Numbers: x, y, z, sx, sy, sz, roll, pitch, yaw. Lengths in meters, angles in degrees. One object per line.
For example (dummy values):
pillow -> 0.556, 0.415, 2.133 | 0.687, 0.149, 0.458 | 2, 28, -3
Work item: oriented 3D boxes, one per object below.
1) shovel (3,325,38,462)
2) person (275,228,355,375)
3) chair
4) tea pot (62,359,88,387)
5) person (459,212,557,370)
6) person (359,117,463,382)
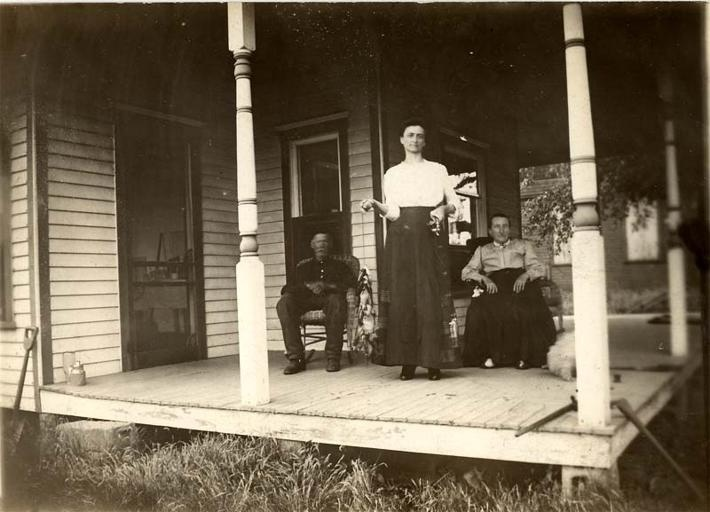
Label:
shovel -> -3.444, 1.383, 6.830 | 0.327, 1.261, 0.275 | 4, 3, 43
person -> -0.424, 0.459, 7.241 | 0.746, 1.579, 0.693 | 3, 4, 7
chair -> -0.152, 0.586, 7.417 | 0.999, 1.464, 1.160 | -2, -7, 15
tea pot -> -2.881, 1.197, 6.812 | 0.246, 0.280, 0.200 | 0, -2, -6
person -> 1.637, 0.340, 7.165 | 0.964, 1.656, 0.632 | -3, -3, 17
person -> 0.598, -0.054, 6.435 | 0.831, 2.485, 0.281 | -2, -3, 1
